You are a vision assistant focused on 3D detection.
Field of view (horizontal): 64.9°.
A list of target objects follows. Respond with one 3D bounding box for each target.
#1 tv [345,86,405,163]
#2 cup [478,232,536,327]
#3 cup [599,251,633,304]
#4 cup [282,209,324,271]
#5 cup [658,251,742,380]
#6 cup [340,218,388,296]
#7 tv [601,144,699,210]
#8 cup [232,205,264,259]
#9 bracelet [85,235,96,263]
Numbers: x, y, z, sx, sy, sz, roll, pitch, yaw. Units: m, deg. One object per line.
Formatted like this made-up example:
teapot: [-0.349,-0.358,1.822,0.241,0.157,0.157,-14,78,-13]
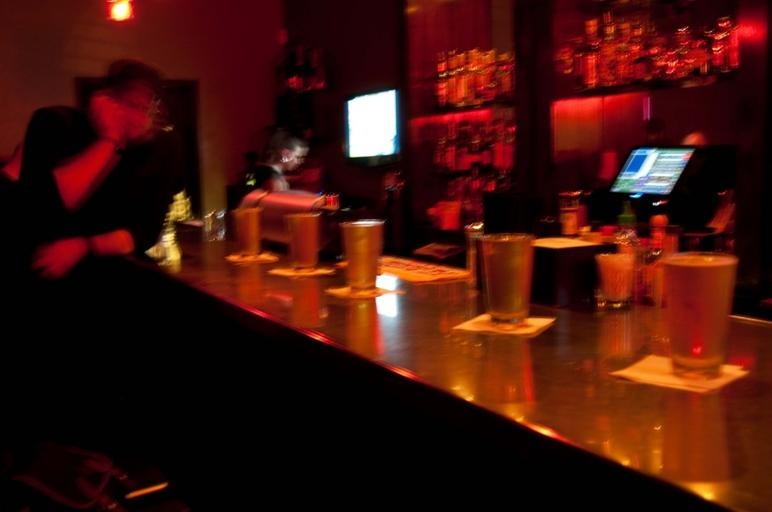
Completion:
tv: [-0.115,-1.062,5.015,0.040,0.595,0.843,-9,13,-34]
cup: [0.275,0.053,1.385,0.113,0.202,0.092,-2,6,-35]
cup: [0.571,0.051,1.522,0.100,0.129,0.108,-6,15,2]
cup: [-0.284,-0.046,2.071,0.109,0.193,0.115,1,5,0]
cup: [0.578,0.105,1.136,0.124,0.219,0.111,3,5,20]
cup: [-0.073,0.001,1.768,0.117,0.205,0.136,1,5,-2]
tv: [1.377,-0.438,3.183,0.206,0.287,0.450,0,5,-17]
cup: [-0.546,-0.083,2.369,0.101,0.194,0.081,0,5,-12]
bracelet: [-0.965,-0.022,1.977,0.019,0.057,0.057,-2,2,-18]
